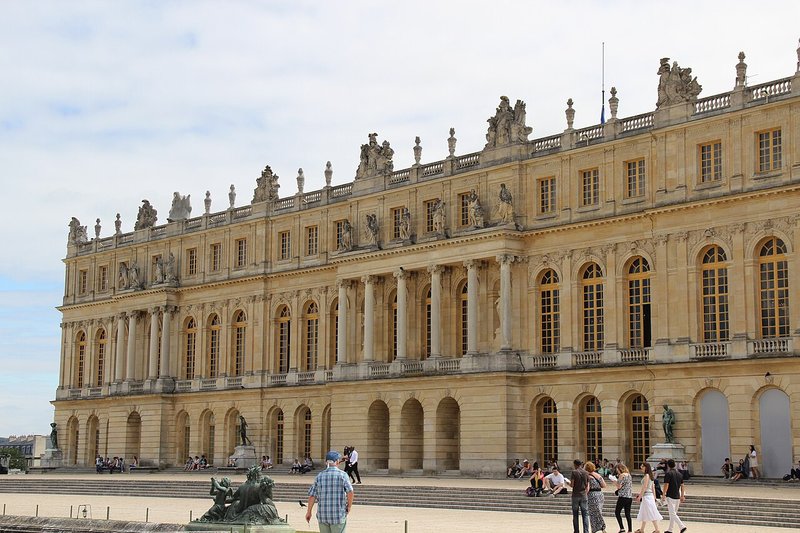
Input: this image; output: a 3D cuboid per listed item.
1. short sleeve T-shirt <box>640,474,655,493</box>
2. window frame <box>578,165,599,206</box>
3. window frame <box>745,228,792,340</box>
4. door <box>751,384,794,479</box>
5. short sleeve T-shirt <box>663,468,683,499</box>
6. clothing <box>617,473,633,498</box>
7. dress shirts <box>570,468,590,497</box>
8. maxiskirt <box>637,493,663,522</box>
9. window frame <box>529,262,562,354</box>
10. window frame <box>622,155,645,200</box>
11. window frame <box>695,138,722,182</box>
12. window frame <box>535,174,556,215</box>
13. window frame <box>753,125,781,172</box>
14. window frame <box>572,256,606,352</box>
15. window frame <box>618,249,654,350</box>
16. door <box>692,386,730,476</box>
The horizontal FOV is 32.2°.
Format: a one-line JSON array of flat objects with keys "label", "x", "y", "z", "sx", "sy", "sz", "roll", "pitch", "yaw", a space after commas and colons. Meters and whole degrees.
[{"label": "short sleeve T-shirt", "x": 9.898, "y": 8.867, "z": 55.843, "sx": 0.583, "sy": 0.990, "sz": 0.814, "roll": -4, "pitch": -11, "yaw": 8}, {"label": "window frame", "x": 11.074, "y": -4.716, "z": 81.244, "sx": 1.142, "sy": 2.112, "sz": 0.313, "roll": -10, "pitch": -14, "yaw": 36}, {"label": "window frame", "x": 19.955, "y": 1.077, "z": 74.623, "sx": 1.856, "sy": 5.394, "sz": 0.421, "roll": -10, "pitch": -14, "yaw": 36}, {"label": "door", "x": 19.779, "y": 8.818, "z": 73.491, "sx": 1.782, "sy": 4.673, "sz": 0.229, "roll": -9, "pitch": -13, "yaw": 32}, {"label": "short sleeve T-shirt", "x": 11.197, "y": 8.955, "z": 56.784, "sx": 0.697, "sy": 1.158, "sz": 0.505, "roll": -2, "pitch": -11, "yaw": -2}, {"label": "clothing", "x": 9.284, "y": 9.141, "z": 57.588, "sx": 0.550, "sy": 0.995, "sz": 0.705, "roll": -3, "pitch": -11, "yaw": 3}, {"label": "dress shirts", "x": 7.232, "y": 8.685, "z": 55.682, "sx": 0.677, "sy": 1.125, "sz": 0.530, "roll": -4, "pitch": -11, "yaw": 9}, {"label": "maxiskirt", "x": 9.975, "y": 9.762, "z": 55.870, "sx": 0.707, "sy": 1.047, "sz": 0.774, "roll": -7, "pitch": -12, "yaw": 22}, {"label": "window frame", "x": 8.960, "y": 2.740, "z": 82.288, "sx": 1.541, "sy": 5.321, "sz": 0.318, "roll": -7, "pitch": -15, "yaw": 30}, {"label": "window frame", "x": 13.427, "y": -5.051, "z": 79.559, "sx": 1.289, "sy": 2.248, "sz": 0.330, "roll": -9, "pitch": -13, "yaw": 29}, {"label": "window frame", "x": 17.157, "y": -5.802, "z": 76.936, "sx": 1.374, "sy": 2.319, "sz": 0.264, "roll": -10, "pitch": -13, "yaw": 35}, {"label": "window frame", "x": 8.735, "y": -4.250, "z": 82.789, "sx": 1.210, "sy": 2.224, "sz": 0.339, "roll": -11, "pitch": -14, "yaw": 39}, {"label": "window frame", "x": 19.930, "y": -6.297, "z": 75.157, "sx": 1.424, "sy": 2.339, "sz": 0.436, "roll": -12, "pitch": -14, "yaw": 41}, {"label": "window frame", "x": 11.127, "y": 2.308, "z": 80.713, "sx": 1.530, "sy": 5.013, "sz": 0.386, "roll": -9, "pitch": -13, "yaw": 33}, {"label": "window frame", "x": 13.516, "y": 1.981, "z": 78.949, "sx": 0.561, "sy": 5.177, "sz": 1.609, "roll": 7, "pitch": -14, "yaw": -39}, {"label": "door", "x": 16.962, "y": 8.981, "z": 75.212, "sx": 1.702, "sy": 4.613, "sz": 0.581, "roll": -6, "pitch": -12, "yaw": 19}]
